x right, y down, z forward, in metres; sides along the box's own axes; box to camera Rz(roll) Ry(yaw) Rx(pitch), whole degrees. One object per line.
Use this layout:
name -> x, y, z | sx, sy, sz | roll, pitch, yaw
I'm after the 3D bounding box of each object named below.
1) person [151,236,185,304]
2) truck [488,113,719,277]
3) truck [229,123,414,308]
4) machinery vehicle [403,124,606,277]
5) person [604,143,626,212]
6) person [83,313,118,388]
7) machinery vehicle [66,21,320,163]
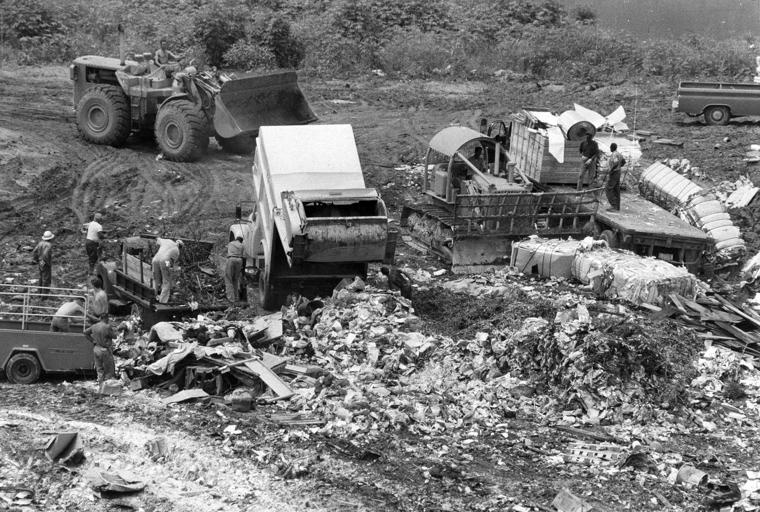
person -> -4.369, 0.315, 15.888 | 0.483, 1.158, 0.973 | -4, 21, -7
truck -> 4.815, -1.523, 18.777 | 2.621, 2.312, 6.218 | -3, 26, -36
truck -> -1.586, -1.065, 16.806 | 2.475, 3.053, 5.398 | -1, 14, -22
machinery vehicle -> 2.527, -1.572, 19.003 | 3.549, 2.617, 4.867 | -6, 18, -18
person -> 5.536, -1.850, 18.298 | 0.401, 1.390, 0.980 | 5, 22, 16
person -> -4.984, 1.676, 13.893 | 0.474, 1.233, 0.869 | -10, 23, -21
machinery vehicle -> -5.723, -5.023, 23.397 | 6.685, 3.691, 3.728 | 7, 14, 19
